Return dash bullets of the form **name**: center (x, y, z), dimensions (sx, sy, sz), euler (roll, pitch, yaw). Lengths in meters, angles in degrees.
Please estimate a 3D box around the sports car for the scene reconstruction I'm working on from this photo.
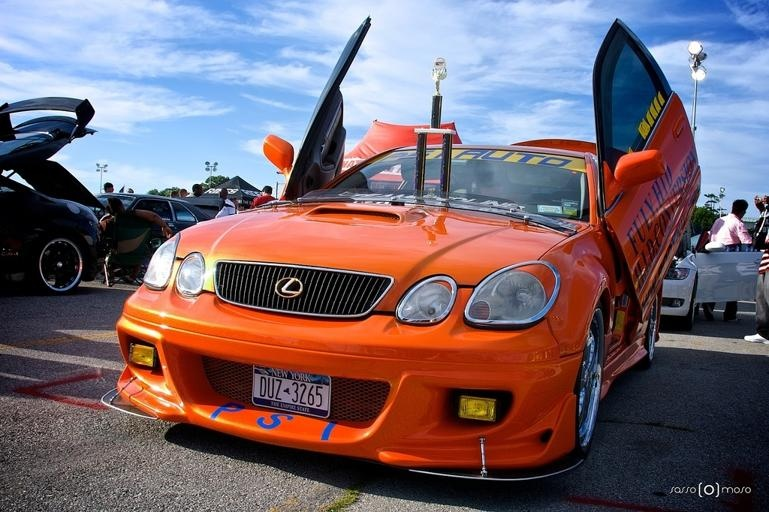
- **sports car**: center (0.709, -0.410, 4.457), dimensions (3.086, 2.212, 5.111), euler (7, 11, 32)
